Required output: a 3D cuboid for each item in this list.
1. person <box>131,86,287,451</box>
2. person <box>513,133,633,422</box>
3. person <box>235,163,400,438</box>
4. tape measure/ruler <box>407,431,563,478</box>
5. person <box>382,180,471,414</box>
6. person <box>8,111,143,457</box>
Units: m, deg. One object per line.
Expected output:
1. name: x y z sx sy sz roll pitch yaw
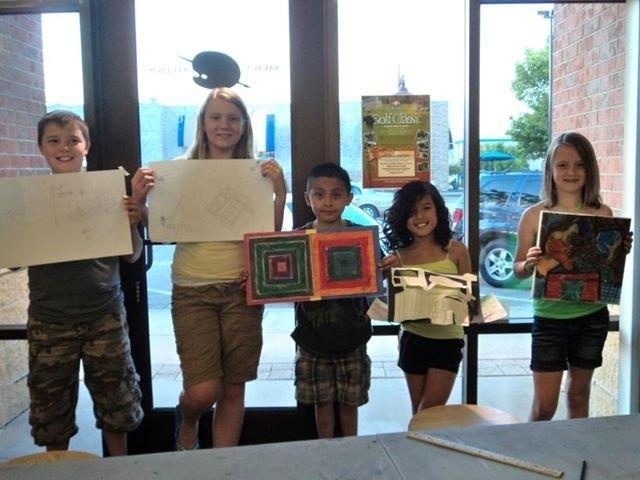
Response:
1. person: -0.484 0.295 2.552 0.609 1.934 0.550 -1 4 -5
2. person: 1.201 0.174 2.704 0.469 1.390 0.376 -3 11 -7
3. person: -0.059 0.265 2.788 0.477 1.386 0.508 0 4 -4
4. tape measure/ruler: 0.499 0.664 1.694 0.466 0.052 0.046 3 11 24
5. person: 0.484 0.256 2.761 0.449 1.117 0.447 0 4 -1
6. person: -1.022 0.167 2.622 0.597 1.553 0.607 -1 18 -20
